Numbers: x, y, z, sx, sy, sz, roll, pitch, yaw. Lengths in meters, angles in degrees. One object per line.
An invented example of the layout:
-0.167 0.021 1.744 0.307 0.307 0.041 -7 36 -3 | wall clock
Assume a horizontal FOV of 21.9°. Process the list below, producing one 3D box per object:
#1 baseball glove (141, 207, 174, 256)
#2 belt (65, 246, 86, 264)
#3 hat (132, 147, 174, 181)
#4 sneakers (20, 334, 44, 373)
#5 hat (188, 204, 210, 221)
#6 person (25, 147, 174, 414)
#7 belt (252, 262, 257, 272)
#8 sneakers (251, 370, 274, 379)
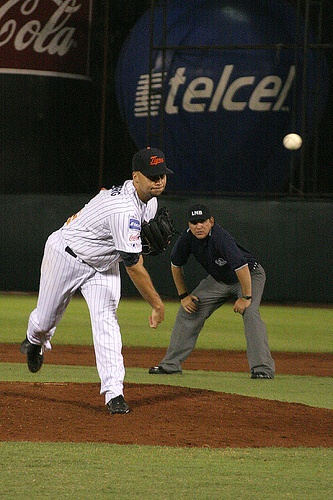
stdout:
-0.026 -0.090 4.891 0.104 0.284 0.207 47 0 5 | baseball glove
-0.496 0.014 4.683 0.095 0.025 0.067 48 -9 -27 | belt
-0.081 -0.469 4.612 0.194 0.174 0.224 2 1 8 | hat
-0.815 0.654 5.234 0.088 0.262 0.111 -9 9 2 | sneakers
0.233 -0.258 6.042 0.153 0.088 0.155 2 1 3 | hat
-0.412 0.241 4.828 0.888 1.284 0.434 3 1 33 | person
0.655 0.116 6.378 0.017 0.083 0.023 17 -26 34 | belt
0.686 0.910 6.223 0.175 0.074 0.056 2 46 -2 | sneakers
